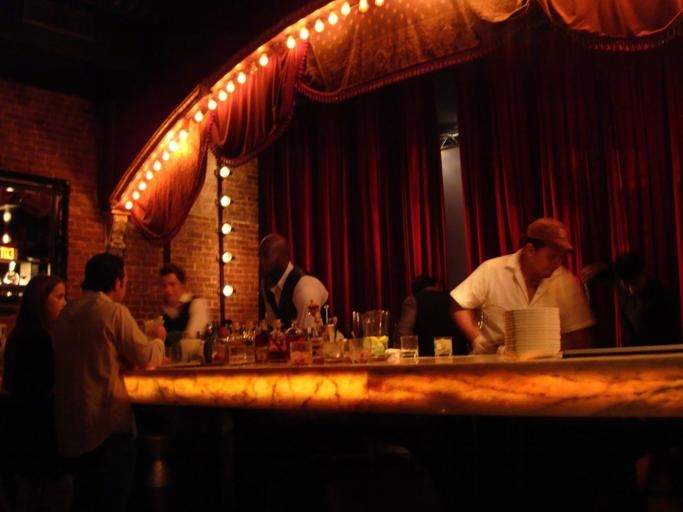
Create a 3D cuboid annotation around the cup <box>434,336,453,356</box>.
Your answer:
[{"bbox_3d":[0.508,0.450,3.183,0.118,0.131,0.093,-1,-9,15],"label":"cup"}]

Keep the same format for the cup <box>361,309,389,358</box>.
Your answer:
[{"bbox_3d":[0.172,0.389,3.280,0.181,0.243,0.188,0,-6,0],"label":"cup"}]

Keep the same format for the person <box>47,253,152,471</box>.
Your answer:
[{"bbox_3d":[-1.312,0.676,3.534,0.532,1.376,0.476,2,8,-26],"label":"person"}]

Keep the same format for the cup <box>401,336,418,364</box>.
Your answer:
[{"bbox_3d":[0.332,0.457,3.117,0.094,0.194,0.100,2,-14,0],"label":"cup"}]

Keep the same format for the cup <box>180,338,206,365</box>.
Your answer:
[{"bbox_3d":[-0.922,0.580,3.925,0.173,0.156,0.160,-1,-7,0],"label":"cup"}]

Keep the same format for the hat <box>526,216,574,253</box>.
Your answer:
[{"bbox_3d":[1.160,-0.121,3.518,0.191,0.171,0.286,3,11,-37],"label":"hat"}]

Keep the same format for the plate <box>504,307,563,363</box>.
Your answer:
[{"bbox_3d":[0.893,0.339,2.917,0.223,0.221,0.235,1,-2,-33],"label":"plate"}]

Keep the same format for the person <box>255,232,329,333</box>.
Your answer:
[{"bbox_3d":[-0.385,0.196,5.484,0.508,0.895,0.948,-4,9,-30],"label":"person"}]
